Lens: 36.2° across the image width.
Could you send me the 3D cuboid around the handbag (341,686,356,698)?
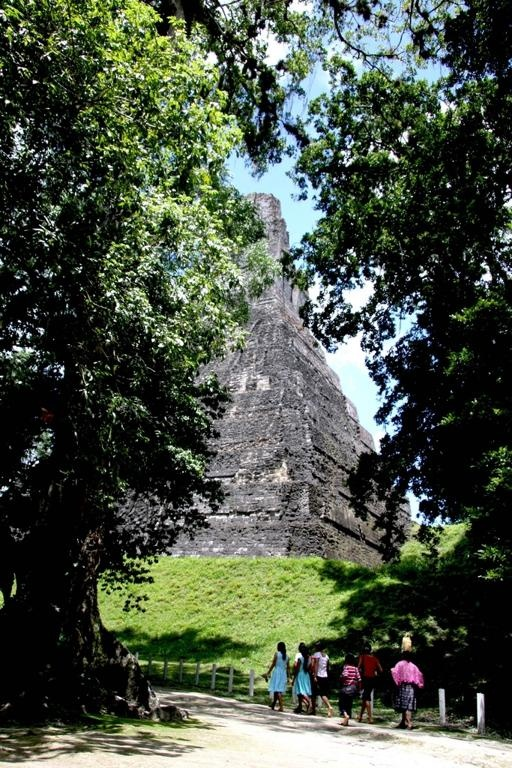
[{"bbox_3d":[1.554,5.089,13.006,0.215,0.057,0.223,-1,-10,1],"label":"handbag"}]
